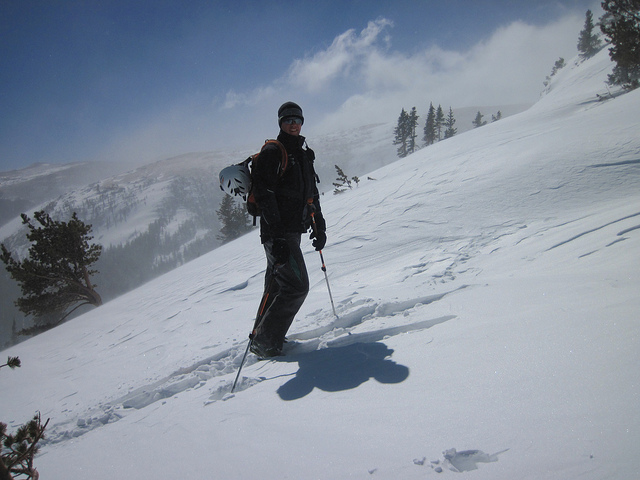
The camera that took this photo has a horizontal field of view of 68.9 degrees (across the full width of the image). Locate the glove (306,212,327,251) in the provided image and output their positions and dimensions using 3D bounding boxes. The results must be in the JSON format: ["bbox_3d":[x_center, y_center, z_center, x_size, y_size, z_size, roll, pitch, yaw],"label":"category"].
[{"bbox_3d":[-0.034,-0.096,6.732,0.286,0.390,0.601,-19,10,-1],"label":"glove"}]
